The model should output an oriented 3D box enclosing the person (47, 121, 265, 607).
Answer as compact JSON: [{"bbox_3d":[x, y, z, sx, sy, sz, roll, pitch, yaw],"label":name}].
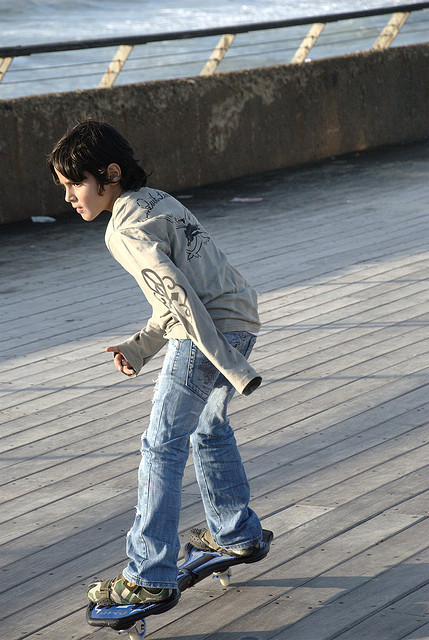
[{"bbox_3d":[-0.128,0.102,2.099,0.489,1.196,0.447,-5,14,3],"label":"person"}]

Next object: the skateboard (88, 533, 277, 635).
[{"bbox_3d":[-0.068,0.681,2.202,0.201,0.095,0.511,-3,15,34],"label":"skateboard"}]
